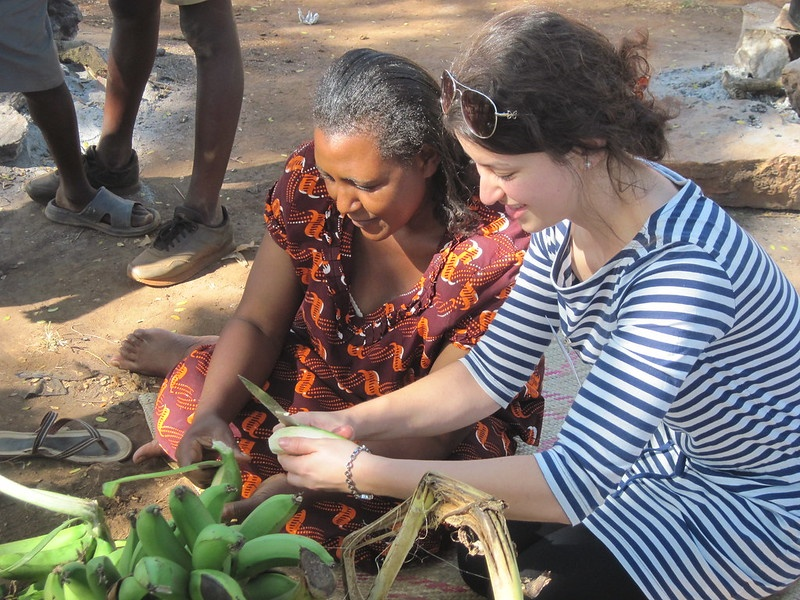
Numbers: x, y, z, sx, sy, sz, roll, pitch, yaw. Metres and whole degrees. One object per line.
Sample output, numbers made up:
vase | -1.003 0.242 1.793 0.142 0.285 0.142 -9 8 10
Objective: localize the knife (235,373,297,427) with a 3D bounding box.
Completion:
knife | -0.359 0.277 2.008 0.054 0.403 0.034 -35 65 1

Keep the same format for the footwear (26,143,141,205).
footwear | -2.148 -0.849 4.701 0.854 0.289 0.243 -8 39 -2

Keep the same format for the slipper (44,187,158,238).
slipper | -1.866 -0.552 4.501 0.732 0.190 0.277 6 39 -3
